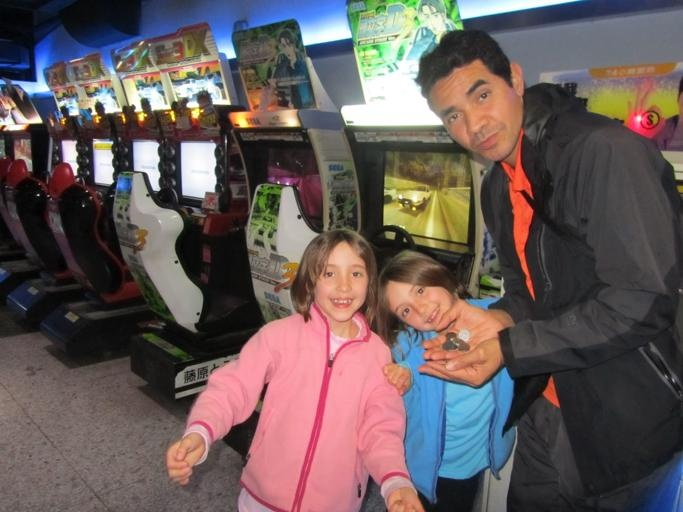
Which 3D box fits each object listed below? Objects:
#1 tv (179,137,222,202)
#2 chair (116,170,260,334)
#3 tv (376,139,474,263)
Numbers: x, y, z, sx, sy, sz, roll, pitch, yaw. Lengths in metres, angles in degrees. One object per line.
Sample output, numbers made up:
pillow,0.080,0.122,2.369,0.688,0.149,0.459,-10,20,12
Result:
tv,-1.535,-0.938,4.883,0.676,0.645,0.157,13,8,39
chair,-1.409,-0.043,4.189,0.967,1.401,1.123,11,12,40
tv,0.585,-0.372,3.039,0.742,0.790,0.061,7,13,36
